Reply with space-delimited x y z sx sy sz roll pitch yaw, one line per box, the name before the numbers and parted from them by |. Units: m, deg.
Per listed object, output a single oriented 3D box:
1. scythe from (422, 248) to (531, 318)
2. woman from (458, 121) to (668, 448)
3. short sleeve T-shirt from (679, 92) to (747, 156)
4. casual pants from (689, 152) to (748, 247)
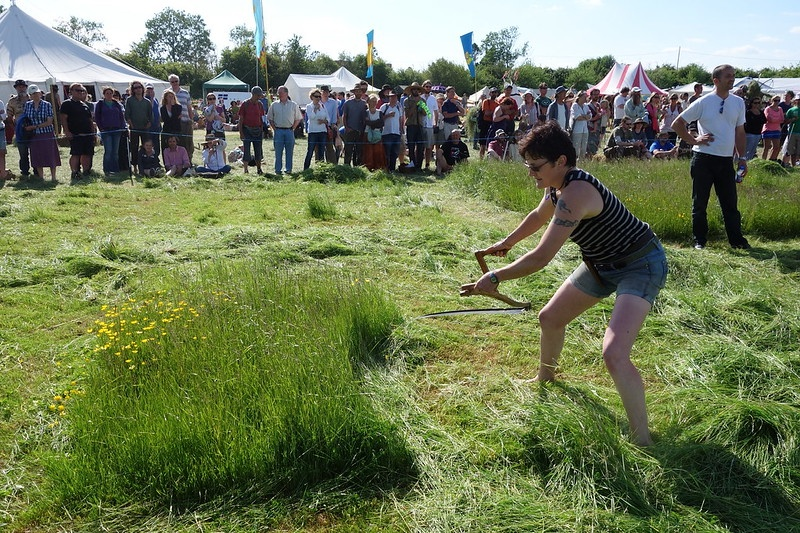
scythe | 0.799 0.207 7.071 1.146 0.317 0.599 -10 57 2
woman | 1.447 0.096 5.370 1.348 2.436 0.800 6 13 22
short sleeve T-shirt | 4.385 -1.985 9.245 0.838 0.870 0.417 5 13 17
casual pants | 4.594 -0.952 9.511 0.700 1.490 0.415 3 -16 20
